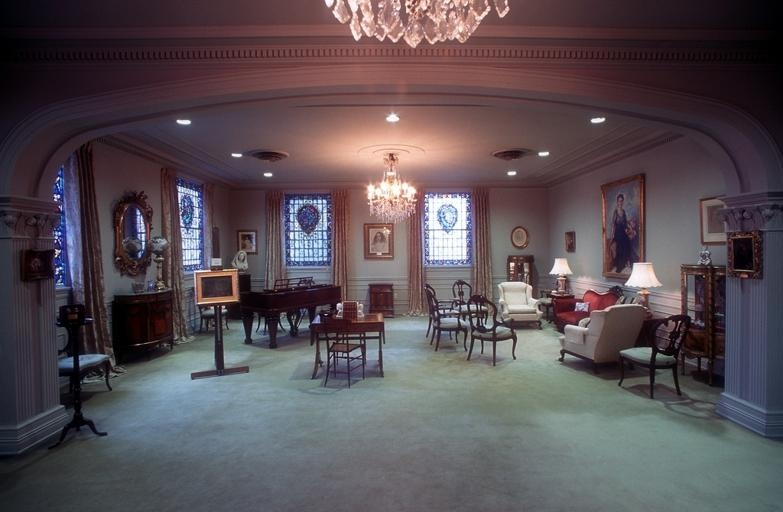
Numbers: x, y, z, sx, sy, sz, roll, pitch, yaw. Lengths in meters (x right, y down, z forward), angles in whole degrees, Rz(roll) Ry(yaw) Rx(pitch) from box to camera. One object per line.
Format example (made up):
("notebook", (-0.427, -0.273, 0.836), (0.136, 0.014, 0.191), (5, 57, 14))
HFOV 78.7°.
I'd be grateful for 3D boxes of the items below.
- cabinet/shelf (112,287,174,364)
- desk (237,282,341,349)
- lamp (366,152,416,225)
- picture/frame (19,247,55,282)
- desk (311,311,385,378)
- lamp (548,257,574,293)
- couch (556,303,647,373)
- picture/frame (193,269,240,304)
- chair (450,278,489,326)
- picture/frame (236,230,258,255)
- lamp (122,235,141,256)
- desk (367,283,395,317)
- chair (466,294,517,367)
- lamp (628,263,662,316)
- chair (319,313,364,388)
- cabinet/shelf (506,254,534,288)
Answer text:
("cabinet/shelf", (-4.804, 1.293, 9.399), (0.676, 1.188, 1.309), (-4, 0, 12))
("desk", (-2.187, 1.242, 10.781), (0.835, 1.125, 2.494), (0, 1, 28))
("lamp", (0.012, -1.515, 10.976), (1.307, 1.708, 1.318), (-1, 0, -6))
("picture/frame", (-4.667, 0.111, 6.312), (0.393, 0.400, 0.047), (-2, -3, -12))
("desk", (-0.644, 1.526, 8.181), (1.050, 0.751, 0.769), (2, -5, -5))
("lamp", (4.220, 0.529, 11.889), (0.579, 0.947, 0.571), (2, -7, -4))
("couch", (3.778, 1.402, 8.592), (1.051, 1.169, 1.360), (0, 0, -25))
("picture/frame", (-2.956, 0.552, 8.291), (0.749, 0.658, 0.446), (-3, -3, 0))
("chair", (1.674, 1.035, 11.262), (0.625, 0.879, 0.619), (-3, 1, 10))
("picture/frame", (-4.084, -0.382, 13.405), (0.697, 0.923, 0.068), (0, 0, -7))
("lamp", (-5.108, -0.168, 9.440), (0.338, 0.327, 0.275), (-9, 14, -44))
("desk", (-0.286, 1.227, 13.247), (0.719, 0.850, 0.701), (-2, 14, -3))
("chair", (1.937, 1.351, 9.165), (0.938, 1.279, 0.879), (0, 3, 19))
("lamp", (4.665, 0.609, 8.839), (0.608, 0.967, 0.606), (-5, 3, -29))
("chair", (-0.825, 1.595, 8.134), (0.625, 1.129, 0.720), (-1, 3, 10))
("cabinet/shelf", (3.547, 0.437, 13.161), (0.845, 1.445, 0.453), (0, -3, 4))
